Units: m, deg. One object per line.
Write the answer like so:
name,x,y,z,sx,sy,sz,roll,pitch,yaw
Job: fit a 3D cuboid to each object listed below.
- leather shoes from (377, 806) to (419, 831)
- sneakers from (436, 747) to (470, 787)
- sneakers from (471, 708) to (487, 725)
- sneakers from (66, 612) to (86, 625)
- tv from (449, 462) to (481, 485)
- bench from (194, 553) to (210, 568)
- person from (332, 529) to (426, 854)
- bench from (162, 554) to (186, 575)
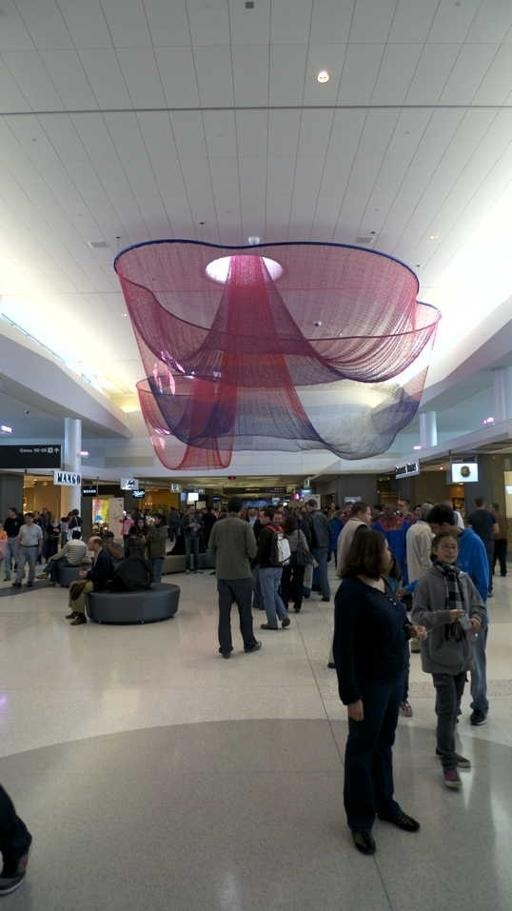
leather shoes,0.583,1.483,2.320,0.174,0.081,0.061,-2,1,43
sneakers,0.996,1.564,2.806,0.094,0.135,0.309,-2,-17,5
sneakers,1.446,1.699,3.617,0.052,0.083,0.163,0,-1,13
sneakers,-2.483,2.275,7.765,0.127,0.196,0.451,-1,-17,23
tv,5.370,0.451,14.307,0.485,0.490,0.072,0,-10,6
bench,-1.429,2.840,14.950,0.323,0.508,0.656,0,0,6
person,0.460,0.917,2.262,0.268,1.206,0.499,-5,-8,33
bench,-1.997,2.686,13.617,0.399,0.424,0.459,1,-3,2
